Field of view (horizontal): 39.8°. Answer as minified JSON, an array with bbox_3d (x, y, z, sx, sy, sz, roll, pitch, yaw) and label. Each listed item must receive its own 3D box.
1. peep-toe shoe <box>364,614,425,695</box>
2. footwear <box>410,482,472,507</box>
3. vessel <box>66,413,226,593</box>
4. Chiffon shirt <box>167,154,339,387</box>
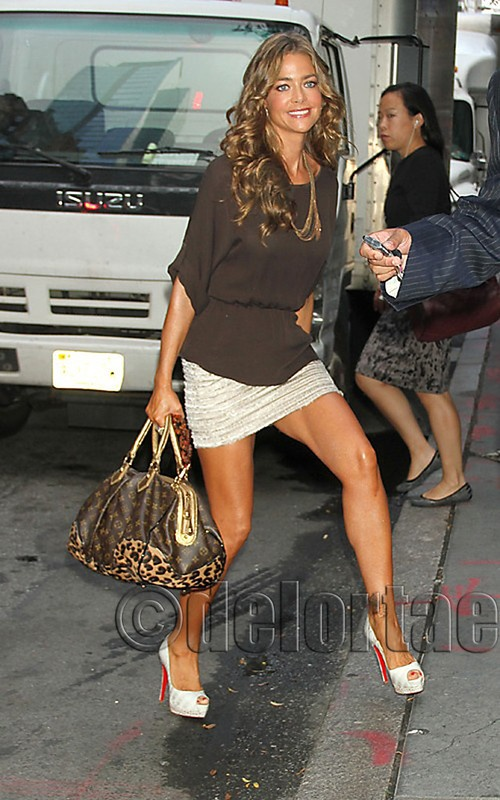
[{"bbox_3d":[0.423,0.734,2.040,0.089,0.063,0.272,-9,30,-15],"label":"peep-toe shoe"},{"bbox_3d":[1.074,0.535,3.905,0.361,0.124,0.127,-1,9,2],"label":"footwear"},{"bbox_3d":[-0.270,0.240,1.843,0.449,0.480,0.246,10,-3,38],"label":"vessel"},{"bbox_3d":[0.012,-0.358,1.937,0.467,0.622,0.220,-4,14,-9],"label":"Chiffon shirt"}]
